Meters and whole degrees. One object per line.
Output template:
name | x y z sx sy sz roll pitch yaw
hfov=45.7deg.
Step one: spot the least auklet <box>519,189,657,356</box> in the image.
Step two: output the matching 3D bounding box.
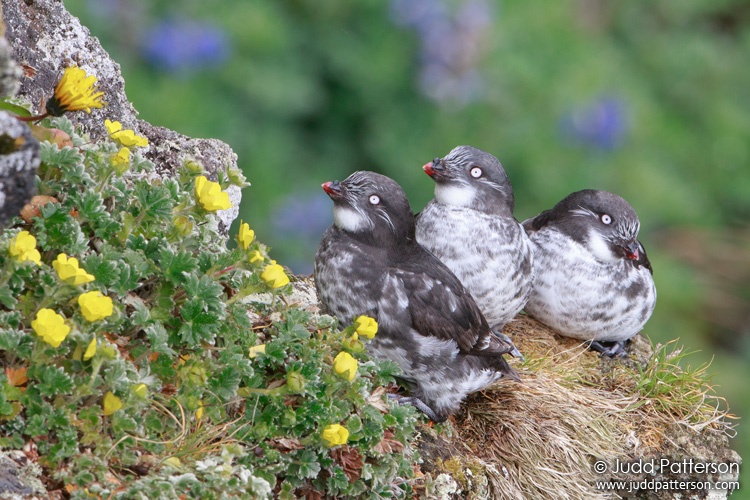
least auklet | 1.271 0.116 5.248 0.699 0.742 0.954 9 22 -6
